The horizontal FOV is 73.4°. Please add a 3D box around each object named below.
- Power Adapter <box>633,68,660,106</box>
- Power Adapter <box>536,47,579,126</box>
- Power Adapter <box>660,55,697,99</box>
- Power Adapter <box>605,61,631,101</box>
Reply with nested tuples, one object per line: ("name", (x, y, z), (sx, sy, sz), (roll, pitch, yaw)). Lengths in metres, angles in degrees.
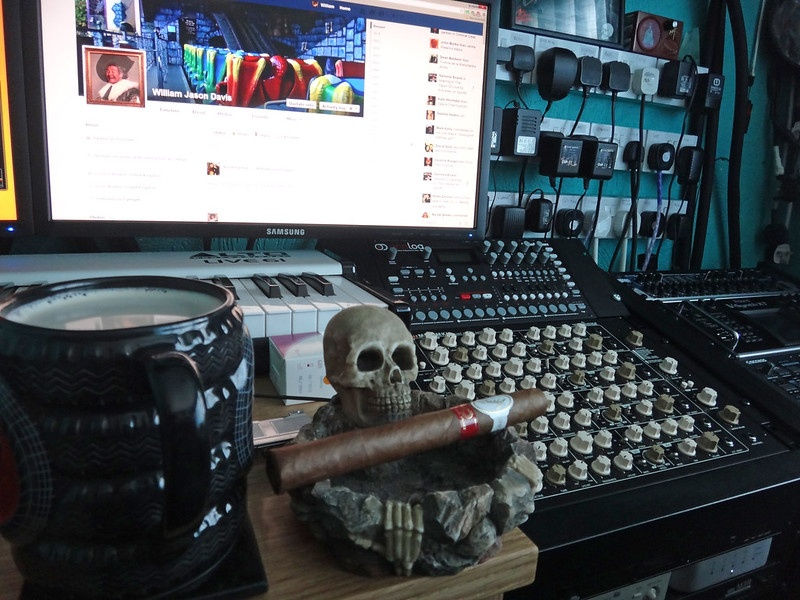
("Power Adapter", (0.696, -0.616, 1.529), (0.070, 0.081, 0.045), (-11, 17, -31))
("Power Adapter", (0.407, -0.563, 1.402), (0.060, 0.195, 0.124), (-6, 43, -19))
("Power Adapter", (0.818, -0.642, 1.569), (0.120, 0.104, 0.058), (-11, 17, -29))
("Power Adapter", (0.594, -0.603, 1.467), (0.072, 0.104, 0.052), (-18, 18, -9))
